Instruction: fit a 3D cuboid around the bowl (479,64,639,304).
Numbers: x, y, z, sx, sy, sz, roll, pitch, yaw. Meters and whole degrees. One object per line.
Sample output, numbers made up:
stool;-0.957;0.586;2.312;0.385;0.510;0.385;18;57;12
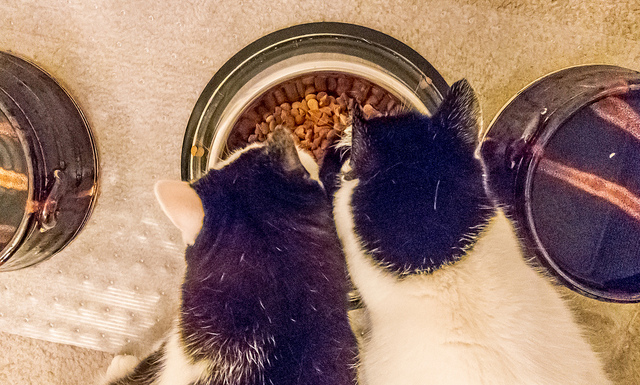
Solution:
bowl;0.708;-0.012;2.283;0.682;0.641;0.640;-1;83;6

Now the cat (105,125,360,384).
cat;-0.236;0.217;1.955;0.626;0.540;0.586;-6;46;-3

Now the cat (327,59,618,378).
cat;0.387;0.178;2.115;0.529;0.593;1.003;-17;82;10
